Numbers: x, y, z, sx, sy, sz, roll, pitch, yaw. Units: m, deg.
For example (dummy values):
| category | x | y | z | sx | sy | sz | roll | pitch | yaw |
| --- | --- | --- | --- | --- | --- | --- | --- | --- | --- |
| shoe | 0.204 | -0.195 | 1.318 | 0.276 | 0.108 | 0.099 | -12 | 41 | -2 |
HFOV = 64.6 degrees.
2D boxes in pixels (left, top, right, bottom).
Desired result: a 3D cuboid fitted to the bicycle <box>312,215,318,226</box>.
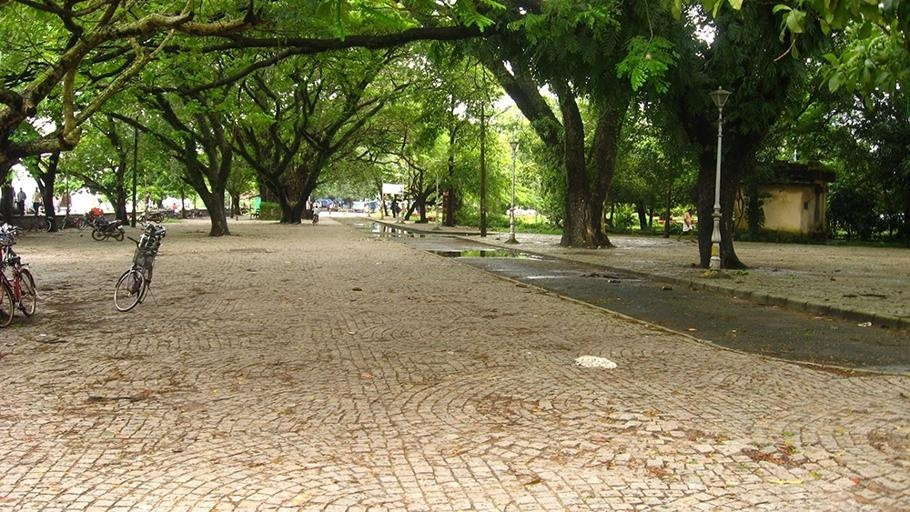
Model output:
| category | x | y | z | sx | sy | sz | roll | pitch | yaw |
| --- | --- | --- | --- | --- | --- | --- | --- | --- | --- |
| bicycle | -12.070 | -3.220 | 62.023 | 0.231 | 0.850 | 0.578 | -1 | 5 | 4 |
